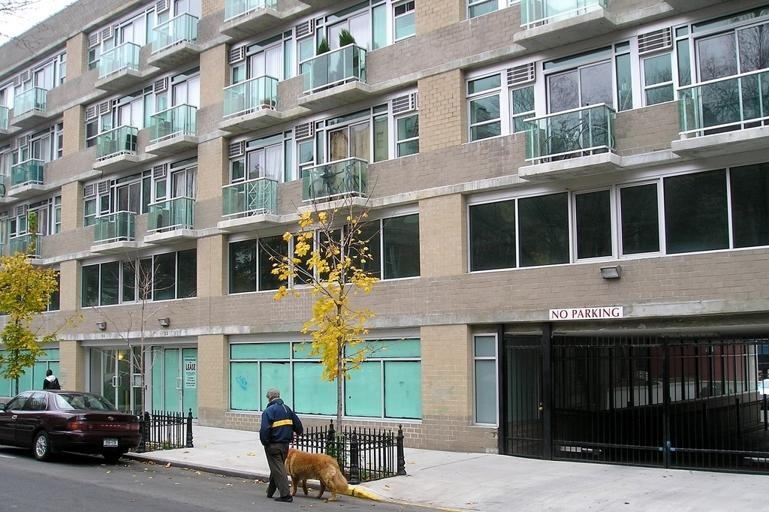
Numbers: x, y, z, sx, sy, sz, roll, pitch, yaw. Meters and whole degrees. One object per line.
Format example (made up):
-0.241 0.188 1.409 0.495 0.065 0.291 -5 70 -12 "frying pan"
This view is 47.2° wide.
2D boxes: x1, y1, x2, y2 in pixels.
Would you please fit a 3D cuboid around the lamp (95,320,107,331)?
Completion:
-12.216 3.003 37.980 0.444 0.475 0.515 0 -4 -9 "lamp"

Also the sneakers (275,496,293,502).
-2.528 6.132 22.243 0.396 0.147 0.153 -1 -10 21 "sneakers"

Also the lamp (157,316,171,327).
-8.882 2.664 35.620 0.455 0.303 0.425 1 -5 8 "lamp"

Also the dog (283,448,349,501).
-1.821 5.684 22.724 2.168 1.170 0.638 0 -5 32 "dog"

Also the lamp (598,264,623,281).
6.767 0.484 26.142 0.576 0.431 0.462 1 -22 42 "lamp"
